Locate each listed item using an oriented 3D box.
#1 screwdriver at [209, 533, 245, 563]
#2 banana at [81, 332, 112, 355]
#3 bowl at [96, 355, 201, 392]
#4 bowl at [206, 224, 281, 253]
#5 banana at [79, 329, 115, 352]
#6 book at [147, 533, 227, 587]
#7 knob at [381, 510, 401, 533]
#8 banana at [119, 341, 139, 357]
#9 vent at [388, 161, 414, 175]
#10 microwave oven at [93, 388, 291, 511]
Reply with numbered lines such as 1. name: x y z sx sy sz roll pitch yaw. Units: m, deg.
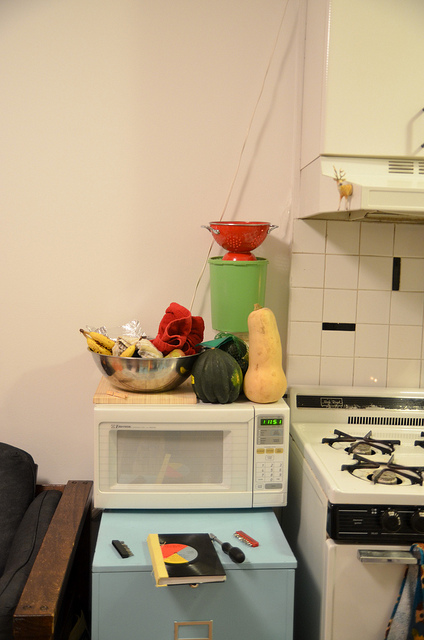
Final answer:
1. screwdriver: 0.029 0.503 1.269 0.023 0.028 0.101 11 -2 -25
2. banana: -0.319 0.063 1.588 0.085 0.020 0.030 42 13 -2
3. bowl: -0.166 0.134 1.450 0.232 0.101 0.086 0 7 -4
4. bowl: 0.081 -0.234 1.646 0.166 0.081 0.085 0 7 -4
5. banana: -0.319 0.054 1.608 0.135 0.035 0.026 23 -1 5
6. book: -0.059 0.510 1.226 0.154 0.030 0.158 7 13 -10
7. knob: 0.398 0.448 1.269 0.050 0.054 0.018 0 7 -4
8. banana: -0.210 0.079 1.446 0.015 0.054 0.019 38 -32 -10
9. vent: 0.489 -0.393 1.476 0.068 0.033 0.006 0 7 -4
10. microwave oven: -0.053 0.221 1.452 0.511 0.309 0.267 0 1 -1
